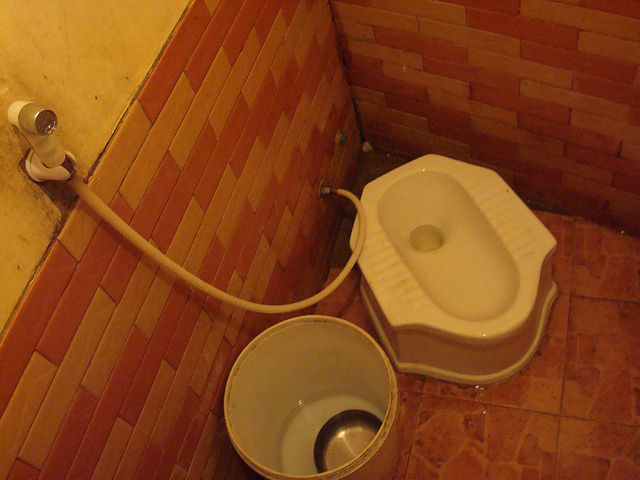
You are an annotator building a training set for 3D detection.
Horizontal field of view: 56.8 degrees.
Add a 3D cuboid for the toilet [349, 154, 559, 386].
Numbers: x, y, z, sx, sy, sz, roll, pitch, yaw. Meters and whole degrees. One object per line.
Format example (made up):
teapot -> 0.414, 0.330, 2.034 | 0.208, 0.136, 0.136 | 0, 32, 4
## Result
toilet -> 0.490, 0.099, 2.173 | 0.650, 0.294, 0.821 | -17, 51, 2
